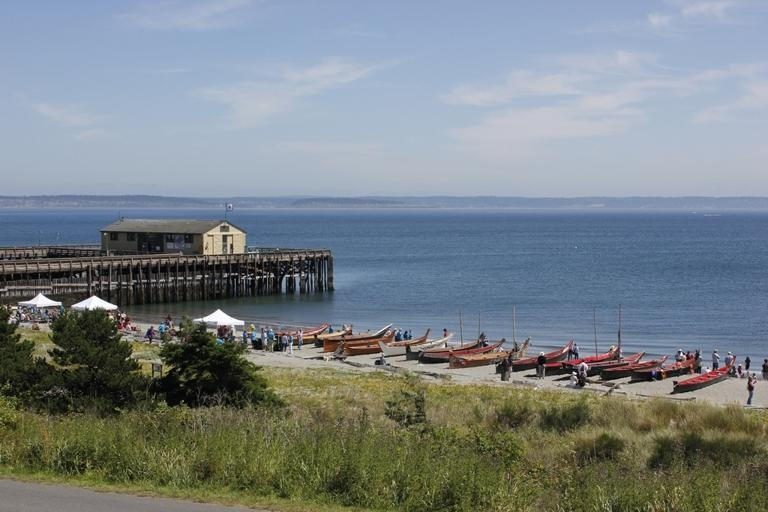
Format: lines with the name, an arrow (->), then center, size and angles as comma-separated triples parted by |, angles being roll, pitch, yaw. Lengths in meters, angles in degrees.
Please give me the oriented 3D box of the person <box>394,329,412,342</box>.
person -> 1.385, 5.925, 95.660 | 0.930, 1.023, 0.341 | 1, -9, -25
